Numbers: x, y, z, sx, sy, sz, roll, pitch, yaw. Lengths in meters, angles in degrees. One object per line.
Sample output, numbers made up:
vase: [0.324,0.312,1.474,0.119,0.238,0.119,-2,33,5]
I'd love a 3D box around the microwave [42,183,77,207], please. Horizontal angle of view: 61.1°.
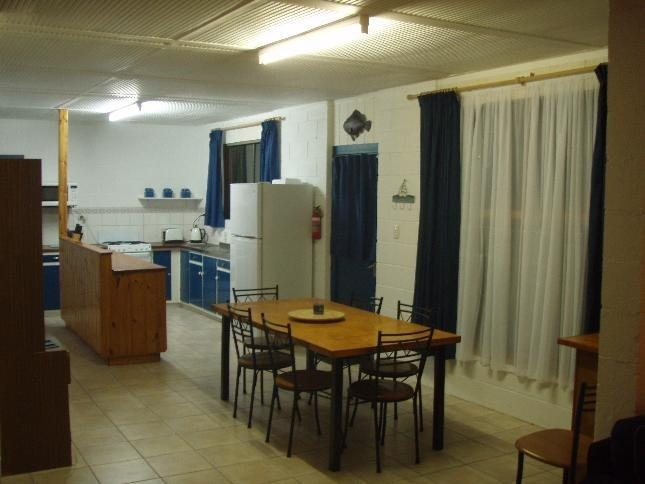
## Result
microwave: [-4.257,-0.765,8.816,0.673,0.479,0.475,0,3,-33]

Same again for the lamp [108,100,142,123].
lamp: [-2.934,-1.946,8.134,0.439,0.110,1.699,-1,6,-21]

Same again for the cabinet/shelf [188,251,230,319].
cabinet/shelf: [-1.893,0.656,9.186,1.037,0.919,0.401,9,8,28]

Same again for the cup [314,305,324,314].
cup: [-0.046,0.637,5.163,0.081,0.077,0.085,1,1,0]

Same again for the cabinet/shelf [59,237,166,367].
cabinet/shelf: [-3.098,0.723,7.792,0.877,1.428,2.629,1,2,-36]

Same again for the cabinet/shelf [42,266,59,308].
cabinet/shelf: [-4.377,0.736,8.878,0.290,0.715,0.078,-1,0,1]

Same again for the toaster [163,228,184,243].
toaster: [-2.715,-0.115,9.977,0.407,0.303,0.223,-1,9,-30]

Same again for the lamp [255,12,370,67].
lamp: [-0.058,-1.583,4.262,1.059,0.162,0.119,-2,29,39]

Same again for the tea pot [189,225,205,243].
tea pot: [-2.302,-0.136,10.149,0.225,0.336,0.320,-4,-10,42]
